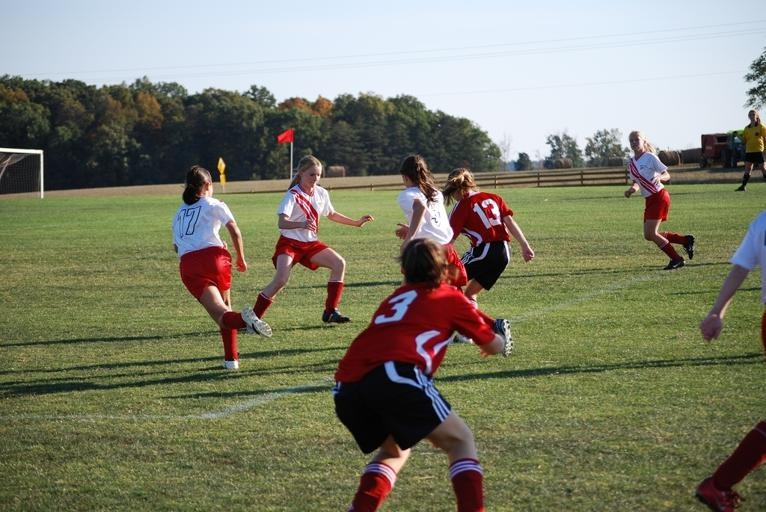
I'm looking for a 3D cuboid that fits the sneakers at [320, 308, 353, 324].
[{"bbox_3d":[-0.681,0.874,13.340,0.479,0.235,0.160,0,11,0],"label":"sneakers"}]

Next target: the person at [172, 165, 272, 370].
[{"bbox_3d":[-2.101,0.143,11.721,1.257,2.529,0.669,2,8,31],"label":"person"}]

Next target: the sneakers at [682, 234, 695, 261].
[{"bbox_3d":[5.385,-0.139,16.427,0.184,0.425,0.143,-16,21,0],"label":"sneakers"}]
